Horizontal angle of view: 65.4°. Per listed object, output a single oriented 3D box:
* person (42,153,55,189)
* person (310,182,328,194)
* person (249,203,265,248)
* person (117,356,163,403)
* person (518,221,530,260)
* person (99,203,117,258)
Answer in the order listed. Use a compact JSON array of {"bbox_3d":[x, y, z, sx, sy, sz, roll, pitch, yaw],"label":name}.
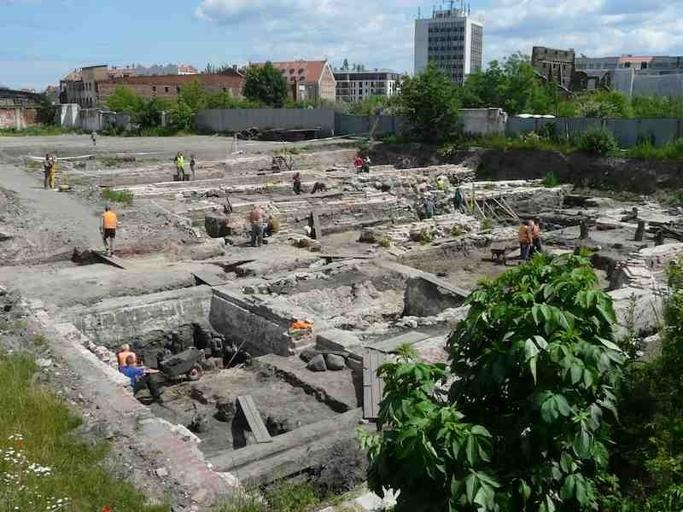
[{"bbox_3d":[-12.694,-3.679,23.073,0.467,1.445,1.173,-6,12,-28],"label":"person"},{"bbox_3d":[-1.077,-3.312,25.528,0.774,0.434,1.077,0,10,-2],"label":"person"},{"bbox_3d":[-2.873,-1.003,18.092,0.426,1.265,0.605,-1,11,-7],"label":"person"},{"bbox_3d":[-4.093,2.449,10.814,0.724,0.874,1.002,-4,11,-22],"label":"person"},{"bbox_3d":[6.018,-0.477,17.510,0.397,1.276,1.303,4,11,18],"label":"person"},{"bbox_3d":[-7.061,-0.826,16.152,0.421,1.514,1.572,-5,11,-24],"label":"person"}]
